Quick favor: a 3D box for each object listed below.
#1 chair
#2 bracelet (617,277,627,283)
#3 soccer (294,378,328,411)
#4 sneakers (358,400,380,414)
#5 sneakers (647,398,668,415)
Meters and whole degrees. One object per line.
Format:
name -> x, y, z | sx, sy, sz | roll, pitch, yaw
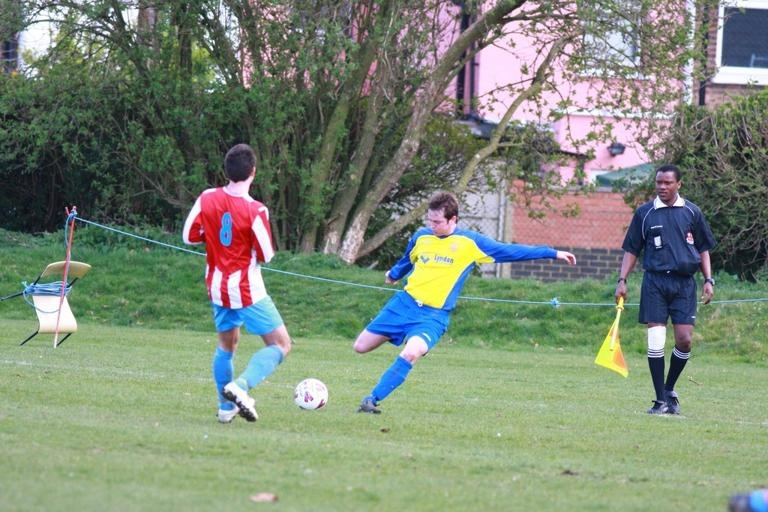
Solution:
chair -> -6.624, 0.952, 27.864 | 1.414, 1.565, 2.383 | 8, -11, -42
bracelet -> 4.216, 0.424, 24.710 | 0.121, 0.079, 0.136 | 9, -28, 18
soccer -> -1.221, 2.213, 23.270 | 0.545, 0.517, 0.509 | -4, 16, -32
sneakers -> -0.242, 2.510, 23.327 | 0.360, 0.168, 0.186 | 3, 0, 11
sneakers -> 4.700, 2.586, 24.003 | 0.339, 0.212, 0.195 | 0, -6, 5
